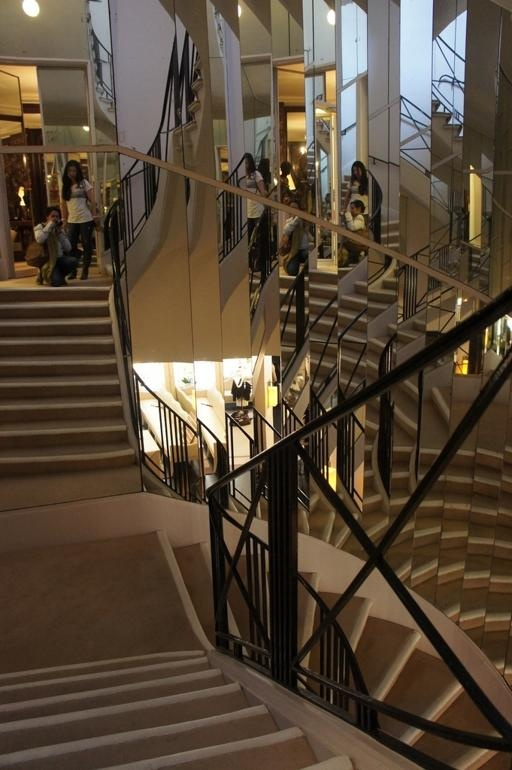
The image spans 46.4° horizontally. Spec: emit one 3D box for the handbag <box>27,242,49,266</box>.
[{"bbox_3d":[-1.488,-0.887,4.043,0.131,0.124,0.121,0,-13,-26],"label":"handbag"}]

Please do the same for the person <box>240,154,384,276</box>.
[{"bbox_3d":[0.393,-1.311,4.618,0.949,0.664,0.681,1,21,-6],"label":"person"}]

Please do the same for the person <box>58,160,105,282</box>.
[{"bbox_3d":[-1.206,-1.130,4.088,0.201,0.854,0.177,-2,36,-14],"label":"person"}]

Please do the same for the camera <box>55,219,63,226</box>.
[{"bbox_3d":[-1.320,-1.084,3.999,0.044,0.037,0.022,0,-12,-24],"label":"camera"}]
